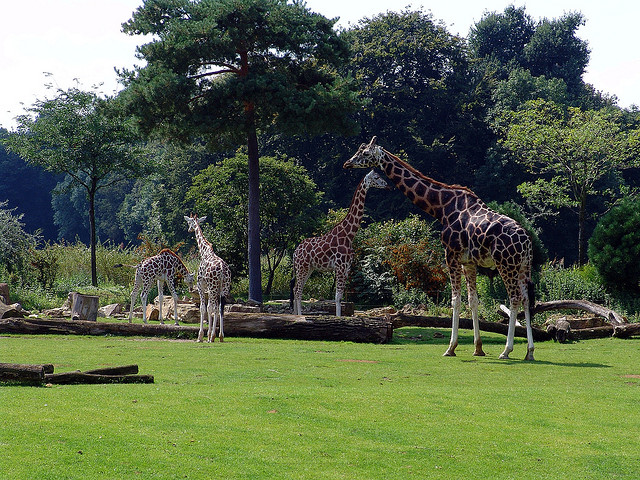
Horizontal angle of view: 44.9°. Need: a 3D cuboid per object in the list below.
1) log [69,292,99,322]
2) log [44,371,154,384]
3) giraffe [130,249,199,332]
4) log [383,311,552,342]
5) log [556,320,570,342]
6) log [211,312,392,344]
[{"bbox_3d":[-6.666,1.910,21.888,0.764,1.115,0.883,2,-3,-25],"label":"log"},{"bbox_3d":[-3.720,2.284,12.840,1.291,0.220,0.248,0,-2,-17],"label":"log"},{"bbox_3d":[-4.773,1.406,23.769,0.651,2.258,2.745,1,-3,35],"label":"giraffe"},{"bbox_3d":[3.898,2.284,20.200,4.237,0.796,0.795,2,-7,10],"label":"log"},{"bbox_3d":[6.318,2.381,20.092,0.309,0.415,0.568,6,9,19],"label":"log"},{"bbox_3d":[-0.544,2.239,19.345,2.998,0.559,0.608,2,-9,2],"label":"log"}]
